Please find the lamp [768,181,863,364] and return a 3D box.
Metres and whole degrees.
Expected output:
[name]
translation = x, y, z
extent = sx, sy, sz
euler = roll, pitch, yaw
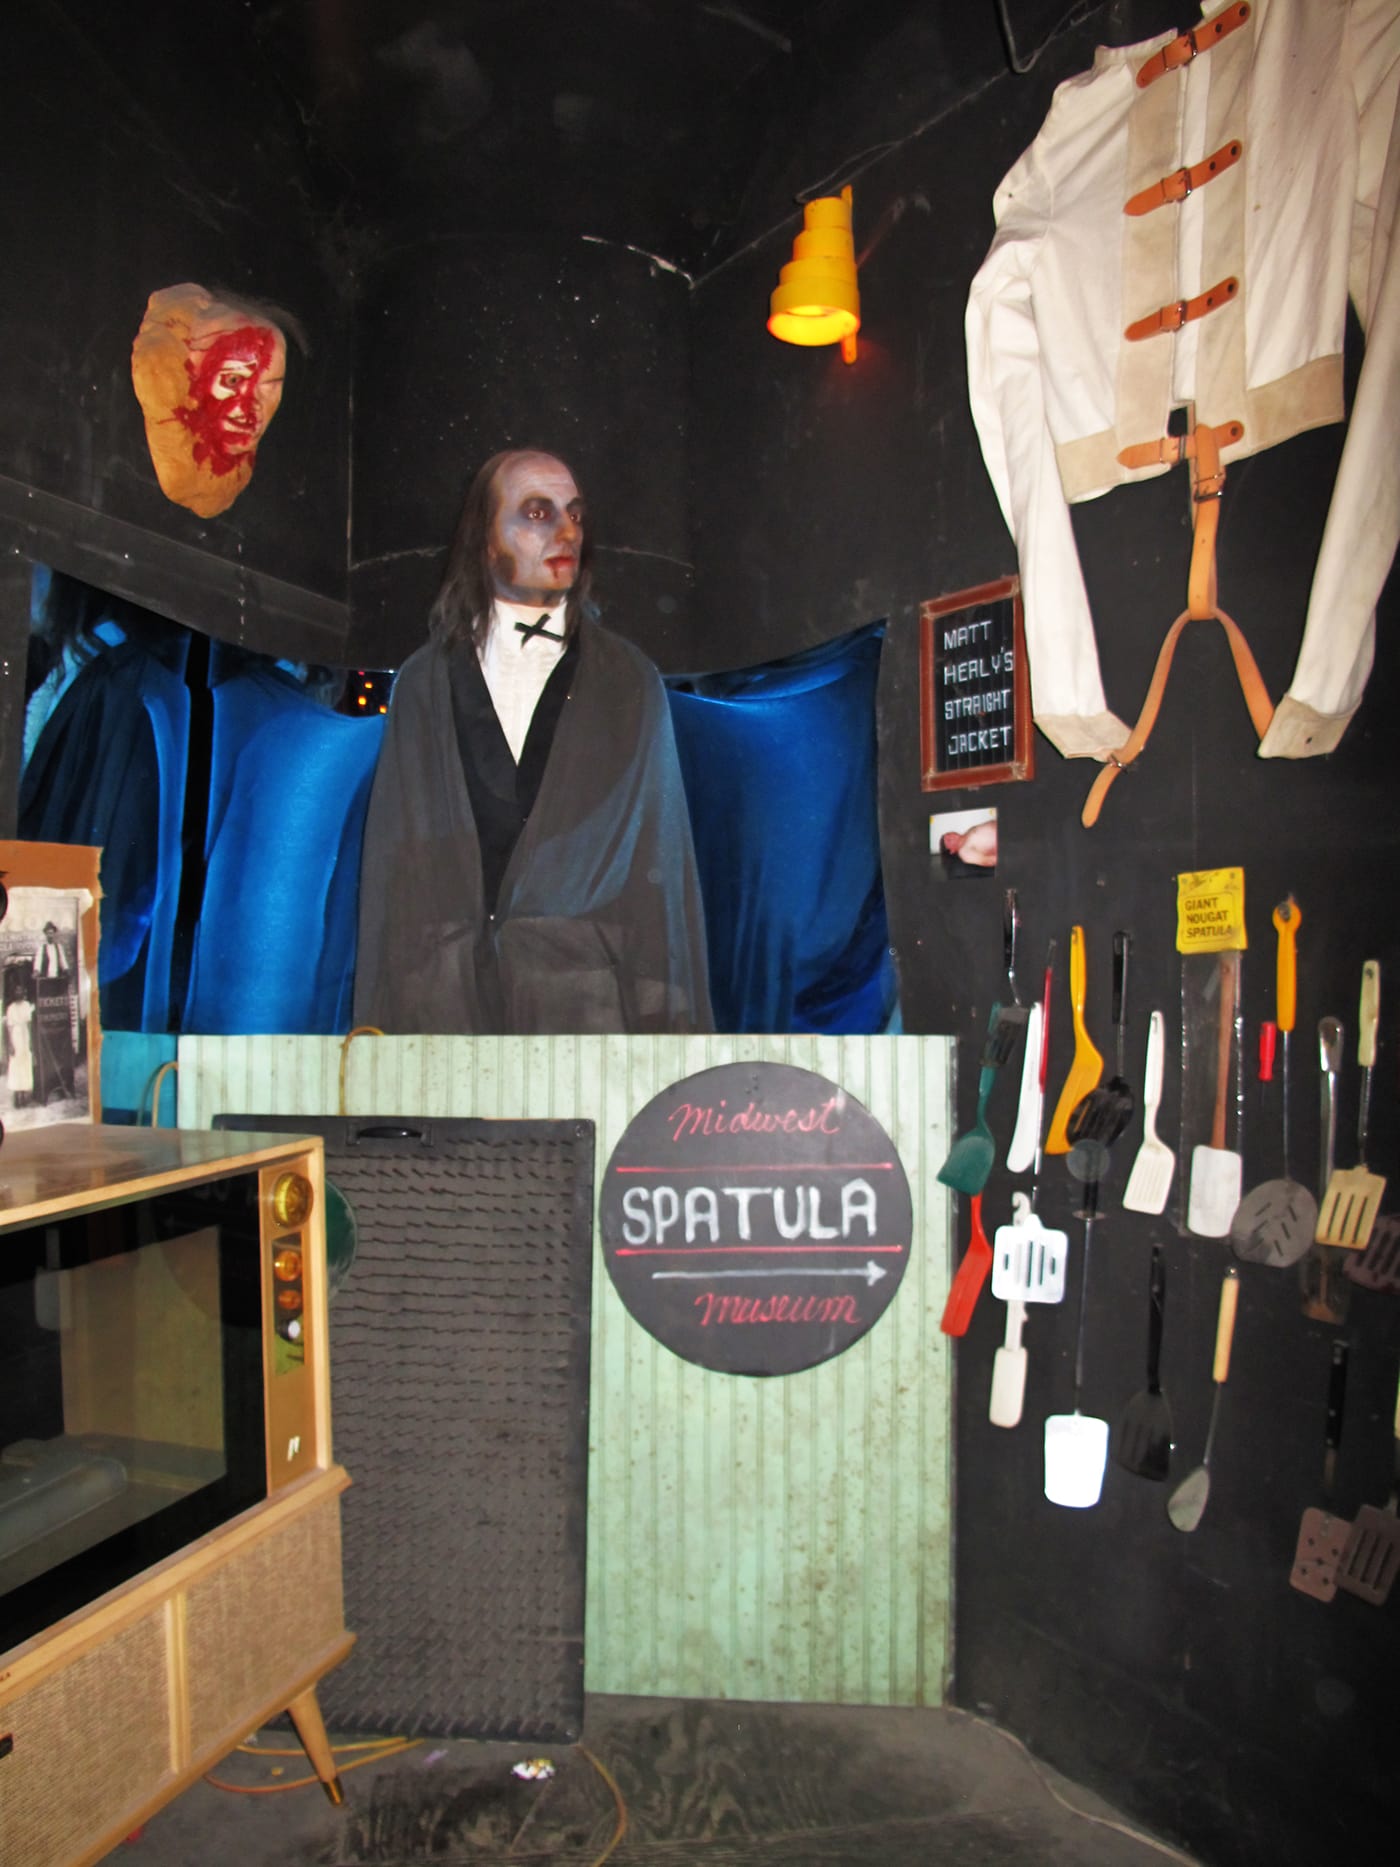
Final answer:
[lamp]
translation = 0.189, -1.078, 2.814
extent = 0.146, 0.286, 0.286
euler = 1, 8, 3
